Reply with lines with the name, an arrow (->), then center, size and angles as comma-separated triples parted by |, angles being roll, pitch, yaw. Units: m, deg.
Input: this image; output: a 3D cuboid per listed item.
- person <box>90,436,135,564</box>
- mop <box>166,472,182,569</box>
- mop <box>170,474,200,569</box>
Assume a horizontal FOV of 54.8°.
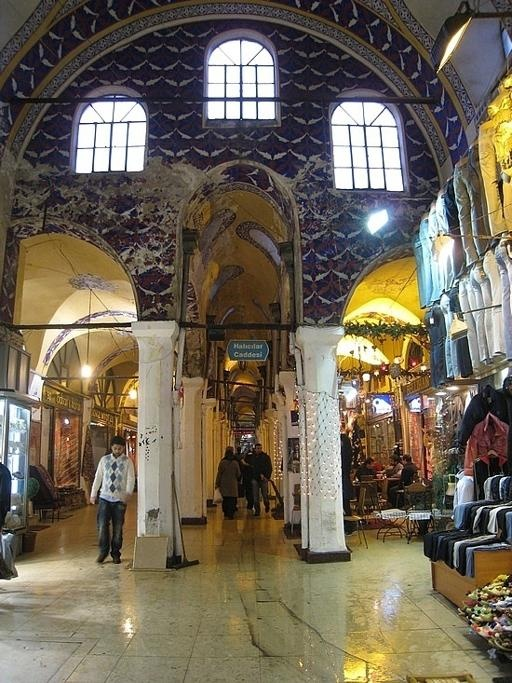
person -> -2.099, 2.275, 7.187 | 0.621, 1.712, 0.488 | -1, -11, 3
mop -> -1.164, 2.520, 7.086 | 0.108, 1.263, 0.301 | -4, -11, 17
mop -> -1.046, 2.552, 7.150 | 0.396, 1.271, 0.314 | -3, -11, 13
